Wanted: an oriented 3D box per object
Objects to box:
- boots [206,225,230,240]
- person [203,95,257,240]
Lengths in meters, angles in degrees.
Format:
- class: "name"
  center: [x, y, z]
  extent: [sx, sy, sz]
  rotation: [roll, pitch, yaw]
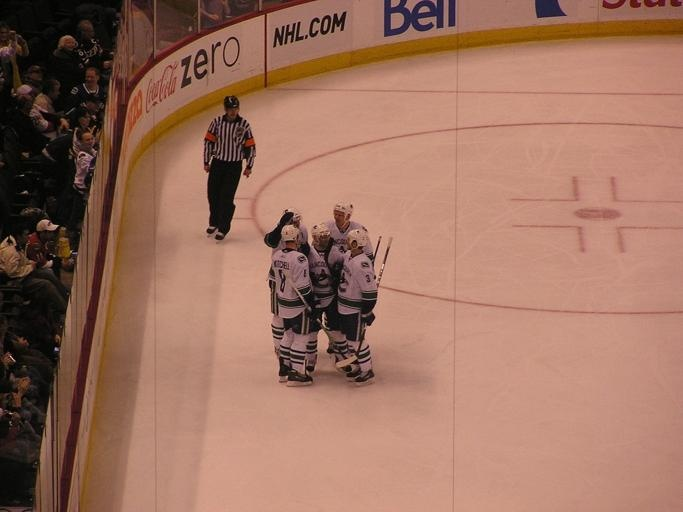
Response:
- class: "boots"
  center: [-1.686, -0.306, 12.256]
  extent: [0.293, 0.211, 0.106]
  rotation: [-1, -4, -2]
- class: "person"
  center: [-1.516, -1.187, 12.335]
  extent: [0.672, 1.933, 0.247]
  rotation: [-1, -4, -11]
